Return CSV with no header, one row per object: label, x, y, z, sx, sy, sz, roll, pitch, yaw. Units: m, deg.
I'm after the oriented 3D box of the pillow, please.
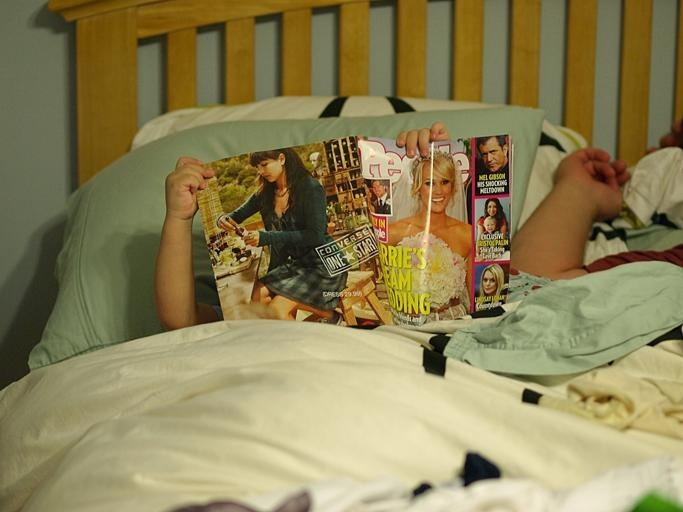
pillow,-0.131,0.046,1.333,0.791,0.215,0.617,-11,35,10
